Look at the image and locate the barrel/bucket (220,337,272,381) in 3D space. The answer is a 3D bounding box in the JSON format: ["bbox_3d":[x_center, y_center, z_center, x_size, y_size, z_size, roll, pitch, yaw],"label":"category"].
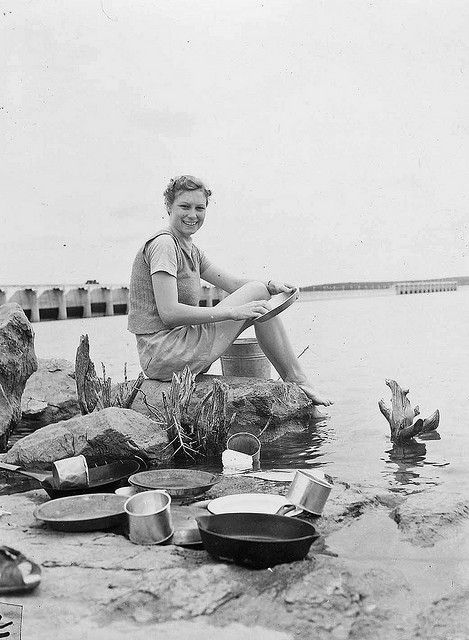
[{"bbox_3d":[0.070,0.295,7.010,0.370,0.356,0.346,0,4,0],"label":"barrel/bucket"}]

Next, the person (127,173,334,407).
[{"bbox_3d":[-0.179,-0.268,6.407,1.222,1.522,1.025,-4,12,-38],"label":"person"}]

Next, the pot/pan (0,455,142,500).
[{"bbox_3d":[-0.897,0.816,4.463,0.526,0.071,0.309,0,1,18],"label":"pot/pan"}]

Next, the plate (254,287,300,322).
[{"bbox_3d":[0.318,-0.140,6.266,0.299,0.058,0.233,-33,5,-41],"label":"plate"}]

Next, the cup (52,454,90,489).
[{"bbox_3d":[-0.806,0.758,4.342,0.174,0.145,0.151,2,-11,-17],"label":"cup"}]

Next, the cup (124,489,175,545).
[{"bbox_3d":[-0.366,0.845,3.767,0.182,0.143,0.213,-1,5,5],"label":"cup"}]

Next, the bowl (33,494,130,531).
[{"bbox_3d":[-0.685,0.864,3.947,0.400,0.095,0.376,3,9,-1],"label":"bowl"}]

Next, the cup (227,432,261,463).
[{"bbox_3d":[0.041,0.783,5.362,0.245,0.134,0.235,4,9,-1],"label":"cup"}]

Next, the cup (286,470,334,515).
[{"bbox_3d":[0.333,0.783,3.997,0.214,0.146,0.198,19,3,-1],"label":"cup"}]
